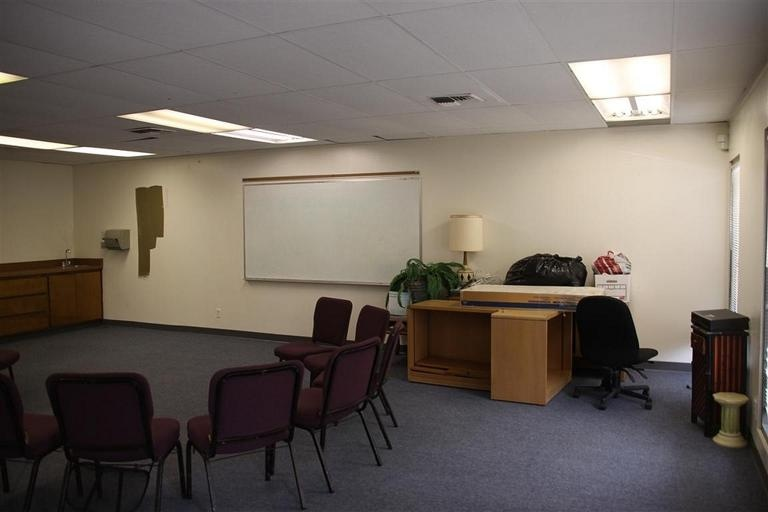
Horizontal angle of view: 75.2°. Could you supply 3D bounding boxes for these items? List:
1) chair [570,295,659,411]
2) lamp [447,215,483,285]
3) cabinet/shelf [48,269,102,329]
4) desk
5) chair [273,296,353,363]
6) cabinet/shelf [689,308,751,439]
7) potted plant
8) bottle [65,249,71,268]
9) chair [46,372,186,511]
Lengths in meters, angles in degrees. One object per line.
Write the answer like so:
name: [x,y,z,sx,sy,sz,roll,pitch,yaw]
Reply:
chair: [2.607,1.072,5.589,0.841,1.144,0.862,6,-6,-38]
lamp: [1.206,-0.116,7.013,0.370,0.918,0.506,5,9,39]
cabinet/shelf: [-5.814,0.804,9.264,0.405,1.043,1.162,-2,0,24]
desk: [1.324,1.073,6.286,1.856,1.013,1.315,3,8,31]
chair: [-0.891,0.847,5.909,0.725,1.004,0.862,2,0,40]
cabinet/shelf: [3.261,1.129,4.865,0.371,1.144,0.512,0,7,7]
potted plant: [0.573,0.412,6.950,1.010,0.569,0.760,0,-2,9]
bottle: [-6.255,0.028,9.833,0.123,0.315,0.315,-6,9,-32]
chair: [-1.926,1.346,3.658,0.747,1.212,0.630,-1,7,3]
